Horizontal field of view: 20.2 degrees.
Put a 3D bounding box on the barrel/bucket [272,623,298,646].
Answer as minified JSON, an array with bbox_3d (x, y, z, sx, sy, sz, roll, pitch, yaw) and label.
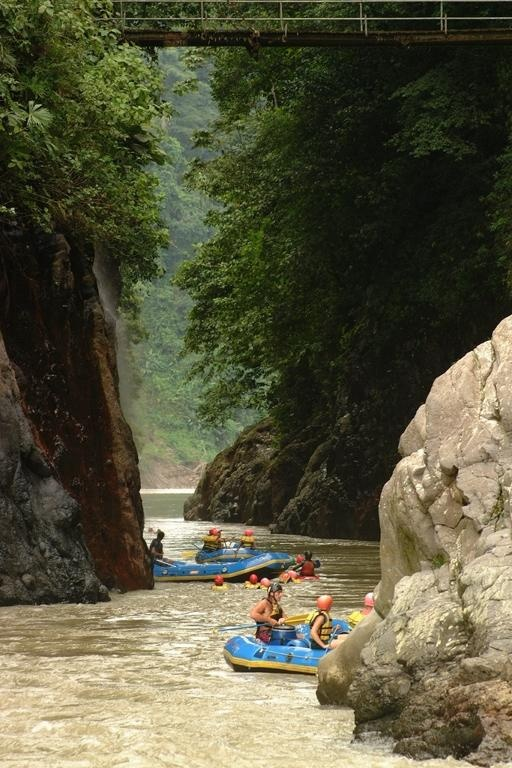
[{"bbox_3d":[0.374,3.098,17.699,0.229,0.229,0.230,0,-4,0],"label":"barrel/bucket"}]

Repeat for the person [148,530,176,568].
[{"bbox_3d":[-1.902,3.220,28.048,0.622,0.967,0.566,-1,-1,9],"label":"person"}]

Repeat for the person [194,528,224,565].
[{"bbox_3d":[-0.923,3.356,29.320,0.447,0.756,0.295,9,-24,41],"label":"person"}]

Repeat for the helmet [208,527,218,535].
[{"bbox_3d":[-0.830,3.055,29.358,0.236,0.150,0.166,-6,14,-8],"label":"helmet"}]

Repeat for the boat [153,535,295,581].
[{"bbox_3d":[-0.567,3.498,27.740,1.936,0.504,1.017,0,2,3],"label":"boat"}]
